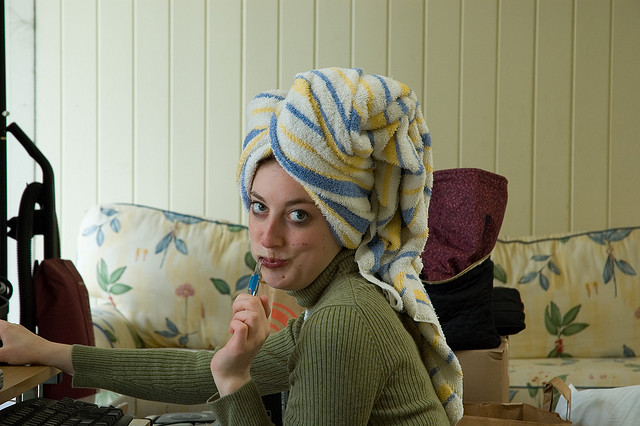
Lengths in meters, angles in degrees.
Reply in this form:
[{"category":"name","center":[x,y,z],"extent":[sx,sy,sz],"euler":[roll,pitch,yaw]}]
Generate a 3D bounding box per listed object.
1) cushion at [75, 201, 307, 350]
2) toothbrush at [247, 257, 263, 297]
[{"category":"cushion","center":[-0.792,0.278,4.064],"extent":[1.094,0.781,0.547],"euler":[-3,6,-7]},{"category":"toothbrush","center":[-0.237,0.241,2.866],"extent":[0.031,0.224,0.035],"euler":[11,1,11]}]
